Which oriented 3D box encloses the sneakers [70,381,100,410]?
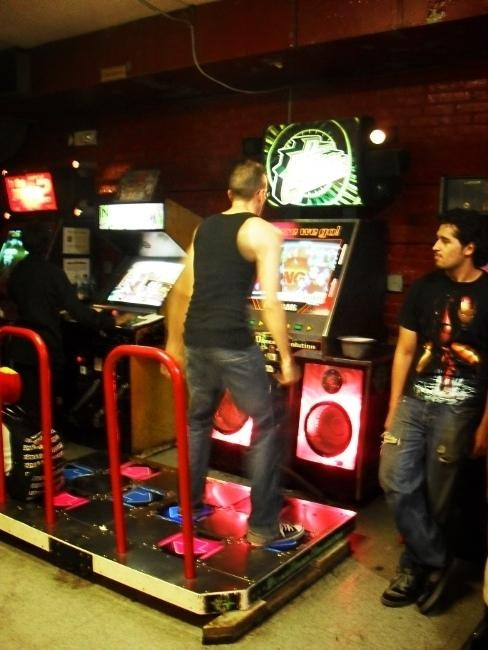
[{"bbox_3d":[-1.142,0.510,4.033,0.049,0.289,0.056,46,31,0],"label":"sneakers"}]

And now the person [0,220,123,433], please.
[{"bbox_3d":[-1.231,0.038,3.652,0.639,1.371,0.756,-5,15,-21],"label":"person"}]

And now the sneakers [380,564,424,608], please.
[{"bbox_3d":[0.639,1.049,2.271,0.247,0.094,0.090,1,-1,-40],"label":"sneakers"}]

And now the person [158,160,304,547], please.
[{"bbox_3d":[-0.009,0.092,2.766,0.535,1.703,1.175,0,14,-1],"label":"person"}]
